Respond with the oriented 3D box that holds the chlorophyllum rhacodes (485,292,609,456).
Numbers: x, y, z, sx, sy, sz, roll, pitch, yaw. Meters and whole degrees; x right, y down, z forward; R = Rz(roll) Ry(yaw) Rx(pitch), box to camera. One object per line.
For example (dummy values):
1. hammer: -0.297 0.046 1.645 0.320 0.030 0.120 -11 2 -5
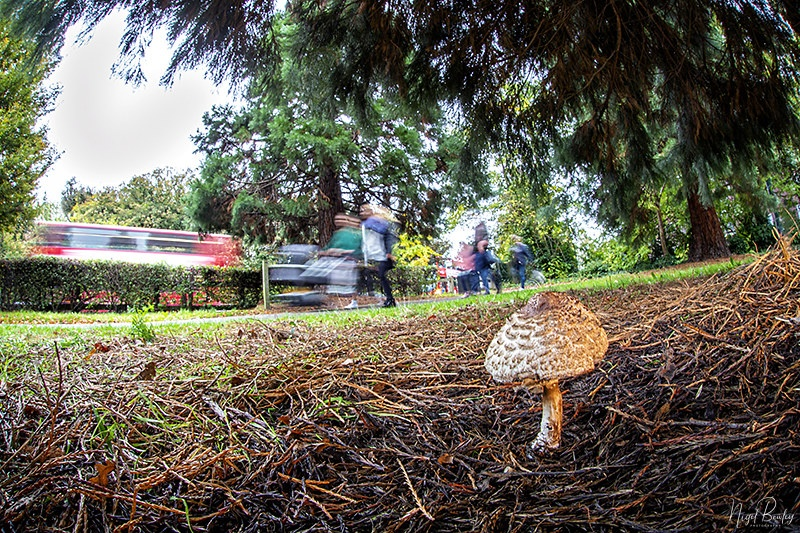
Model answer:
1. chlorophyllum rhacodes: 0.946 0.654 3.256 0.750 1.001 0.743 -2 6 24
